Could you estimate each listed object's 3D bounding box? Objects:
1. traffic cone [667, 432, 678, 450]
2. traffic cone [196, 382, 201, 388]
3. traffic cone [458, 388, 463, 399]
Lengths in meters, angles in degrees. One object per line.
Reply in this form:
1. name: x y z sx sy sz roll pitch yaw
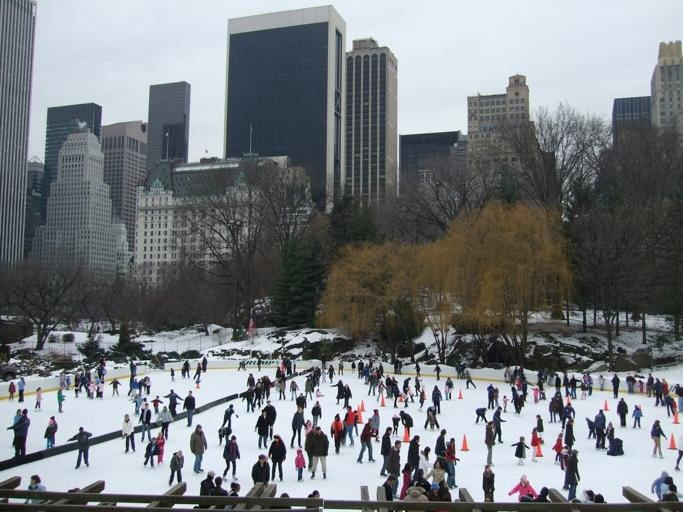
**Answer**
1. traffic cone: 16.997 9.547 40.420 0.566 0.731 0.583 -9 5 -21
2. traffic cone: -9.792 8.842 53.484 0.246 0.289 0.240 -1 0 -17
3. traffic cone: 7.609 8.791 49.789 0.378 0.601 0.408 -1 -5 -8
